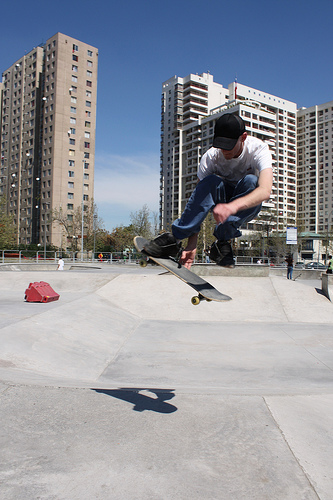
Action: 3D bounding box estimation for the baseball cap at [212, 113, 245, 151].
[{"bbox_3d":[0.454,-0.907,3.500,0.224,0.192,0.359,15,47,17],"label":"baseball cap"}]

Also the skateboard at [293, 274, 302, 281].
[{"bbox_3d":[7.502,1.547,27.068,0.731,0.177,0.173,-22,51,-5],"label":"skateboard"}]

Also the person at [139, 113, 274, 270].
[{"bbox_3d":[0.343,-0.429,3.827,0.854,1.280,0.733,14,15,2],"label":"person"}]

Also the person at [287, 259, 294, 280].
[{"bbox_3d":[5.908,0.905,22.572,0.181,0.958,0.815,2,0,22],"label":"person"}]
